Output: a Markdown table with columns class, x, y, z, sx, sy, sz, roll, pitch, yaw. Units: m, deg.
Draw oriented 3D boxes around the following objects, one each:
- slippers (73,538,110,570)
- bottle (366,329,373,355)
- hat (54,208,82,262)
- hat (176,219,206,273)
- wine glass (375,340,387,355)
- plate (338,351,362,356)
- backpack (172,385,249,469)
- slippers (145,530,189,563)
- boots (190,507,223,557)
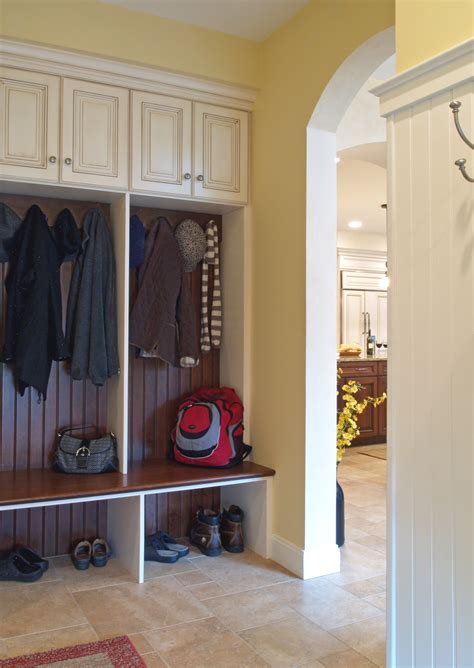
| class | x | y | z | sx | sy | sz | roll | pitch | yaw |
| --- | --- | --- | --- | --- | --- | --- | --- | --- | --- |
| slippers | -0.731 | 1.099 | 2.844 | 0.102 | 0.059 | 0.153 | 1 | 2 | -17 |
| bottle | 1.996 | 0.123 | 8.569 | 0.109 | 0.407 | 0.682 | 0 | -2 | 14 |
| hat | -0.865 | -0.504 | 2.891 | 0.189 | 0.252 | 0.058 | -10 | -7 | 44 |
| hat | -0.263 | -0.507 | 3.255 | 0.057 | 0.273 | 0.211 | 0 | -4 | 40 |
| wine glass | 2.203 | 0.214 | 8.762 | 0.147 | 0.239 | 0.655 | 0 | -2 | 13 |
| plate | 1.359 | 0.237 | 6.941 | 0.275 | 0.057 | 0.213 | 1 | -2 | 0 |
| backpack | -0.129 | 0.498 | 3.118 | 0.381 | 0.409 | 0.369 | -3 | -9 | 27 |
| slippers | -0.379 | 1.092 | 2.939 | 0.159 | 0.058 | 0.111 | 0 | -1 | 42 |
| boots | -0.162 | 1.056 | 3.091 | 0.100 | 0.171 | 0.276 | 1 | 1 | -14 |
